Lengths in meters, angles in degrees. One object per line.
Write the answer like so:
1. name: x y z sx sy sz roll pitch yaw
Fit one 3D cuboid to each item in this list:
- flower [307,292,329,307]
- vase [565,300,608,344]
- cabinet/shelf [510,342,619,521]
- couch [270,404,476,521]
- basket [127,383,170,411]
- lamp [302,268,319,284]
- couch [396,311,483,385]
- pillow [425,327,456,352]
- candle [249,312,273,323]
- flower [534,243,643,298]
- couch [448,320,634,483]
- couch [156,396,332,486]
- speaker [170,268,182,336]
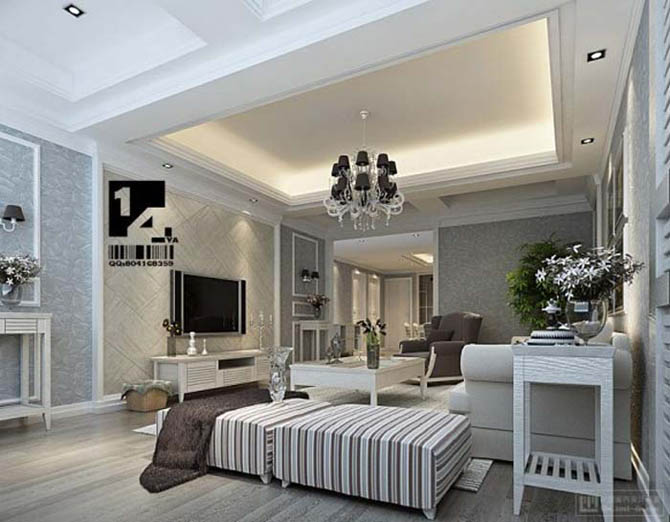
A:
1. flower: -0.378 0.714 8.438 0.269 0.168 0.267 5 -9 -28
2. vase: 1.495 0.345 2.598 0.259 0.247 0.135 0 -5 -7
3. cabinet/shelf: 1.299 0.913 2.524 0.541 0.901 0.607 -4 -6 32
4. couch: 0.245 1.206 2.850 1.025 0.427 0.799 -5 -7 32
5. basket: -2.106 1.421 4.905 0.315 0.187 0.350 -4 -7 25
6. lamp: -0.458 0.273 8.465 0.139 0.279 0.590 -4 -6 26
7. couch: 1.627 1.333 6.822 1.182 1.337 1.119 7 -14 -26
8. pillow: 1.618 1.207 6.945 0.345 0.339 0.108 7 -10 24
9. candle: -1.199 0.902 7.162 0.199 0.114 0.197 1 -1 -38
10. flower: 1.833 0.070 3.224 0.719 0.425 0.728 0 2 37
11. couch: 1.400 0.825 3.086 0.956 0.620 0.979 -3 -6 25
12. couch: -0.594 1.142 3.032 0.593 0.269 0.652 -5 -8 30
13. speaker: -2.044 0.472 5.694 0.156 0.749 0.059 1 -5 -22
